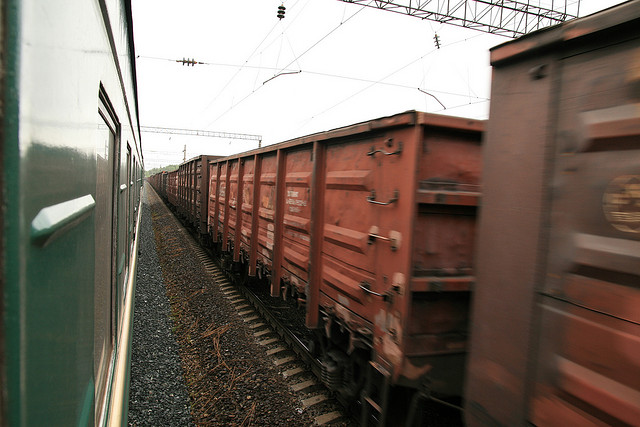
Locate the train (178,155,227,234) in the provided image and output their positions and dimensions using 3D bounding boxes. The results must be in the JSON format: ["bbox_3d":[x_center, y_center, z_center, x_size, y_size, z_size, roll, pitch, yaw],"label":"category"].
[{"bbox_3d":[-4.393,-0.975,16.351,2.024,2.398,5.611,0,7,-25],"label":"train"}]
